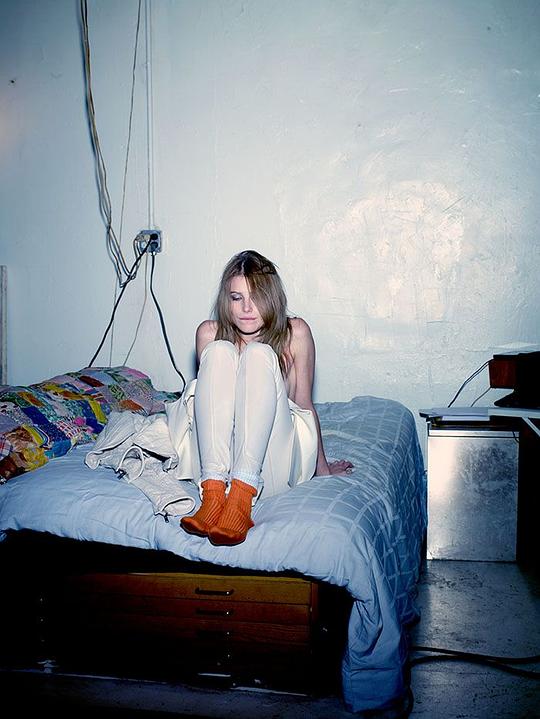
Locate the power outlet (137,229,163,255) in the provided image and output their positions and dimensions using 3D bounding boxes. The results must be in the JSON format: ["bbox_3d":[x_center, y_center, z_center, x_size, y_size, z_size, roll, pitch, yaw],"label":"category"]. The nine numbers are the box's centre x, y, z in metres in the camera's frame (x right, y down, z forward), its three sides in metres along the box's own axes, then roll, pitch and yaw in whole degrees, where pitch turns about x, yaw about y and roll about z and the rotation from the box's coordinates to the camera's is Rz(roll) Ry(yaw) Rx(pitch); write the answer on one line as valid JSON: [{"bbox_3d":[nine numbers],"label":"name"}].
[{"bbox_3d":[-0.558,-0.530,2.793,0.129,0.115,0.046,1,2,20],"label":"power outlet"}]
